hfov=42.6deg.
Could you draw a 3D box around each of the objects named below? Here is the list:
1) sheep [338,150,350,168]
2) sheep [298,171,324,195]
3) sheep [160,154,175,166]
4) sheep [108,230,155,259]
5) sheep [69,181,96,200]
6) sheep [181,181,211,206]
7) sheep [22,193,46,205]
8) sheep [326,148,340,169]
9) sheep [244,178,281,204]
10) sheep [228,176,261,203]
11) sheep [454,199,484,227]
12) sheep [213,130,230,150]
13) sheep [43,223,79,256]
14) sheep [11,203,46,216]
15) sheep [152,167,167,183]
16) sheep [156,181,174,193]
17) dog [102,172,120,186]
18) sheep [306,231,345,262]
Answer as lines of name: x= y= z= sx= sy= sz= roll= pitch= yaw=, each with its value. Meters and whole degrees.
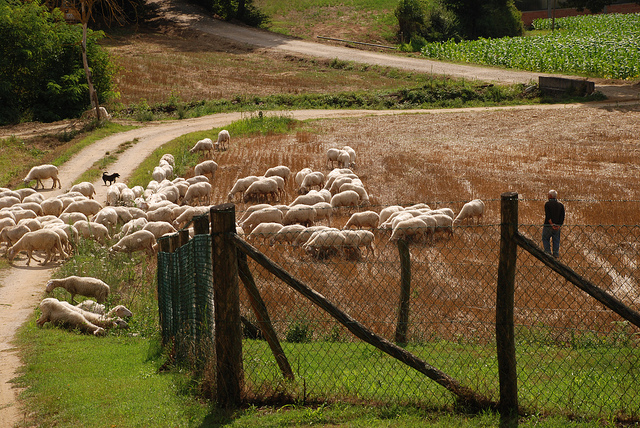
sheep: x=1.630 y=-3.567 z=54.908 sx=0.732 sy=1.043 sz=1.215 roll=-6 pitch=18 yaw=-16
sheep: x=-0.472 y=-1.986 z=51.385 sx=0.862 sy=1.227 sz=2.095 roll=14 pitch=23 yaw=40
sheep: x=-10.331 y=-3.615 z=55.739 sx=0.783 sy=0.534 sz=1.558 roll=-3 pitch=6 yaw=-7
sheep: x=-9.976 y=1.617 z=44.574 sx=2.002 sy=1.319 sz=0.586 roll=-4 pitch=16 yaw=-9
sheep: x=-14.460 y=-1.313 z=50.290 sx=0.719 sy=1.179 sz=1.767 roll=4 pitch=18 yaw=15
sheep: x=-7.485 y=-1.227 z=50.260 sx=1.608 sy=1.412 sz=1.115 roll=-4 pitch=17 yaw=-9
sheep: x=-16.743 y=-0.850 z=48.138 sx=1.363 sy=0.804 sz=0.498 roll=-3 pitch=40 yaw=-27
sheep: x=0.877 y=-3.757 z=55.553 sx=0.737 sy=1.268 sz=1.196 roll=-6 pitch=18 yaw=-16
sheep: x=-3.596 y=-1.378 z=50.715 sx=2.394 sy=1.837 sz=0.911 roll=-9 pitch=25 yaw=-13
sheep: x=-4.502 y=-1.550 z=50.959 sx=2.537 sy=1.492 sz=0.813 roll=-13 pitch=21 yaw=-12
sheep: x=8.493 y=-0.010 z=46.447 sx=2.275 sy=1.399 sz=0.709 roll=-13 pitch=17 yaw=-25
sheep: x=-7.111 y=-5.393 z=59.783 sx=1.051 sy=1.312 sz=1.593 roll=-2 pitch=17 yaw=-5
sheep: x=-13.891 y=1.443 z=44.944 sx=0.528 sy=1.161 sz=2.059 roll=10 pitch=-16 yaw=-39
sheep: x=-16.549 y=-0.152 z=46.909 sx=1.570 sy=0.887 sz=0.944 roll=-8 pitch=19 yaw=-22
sheep: x=-10.351 y=-2.550 z=52.995 sx=0.496 sy=0.714 sz=1.248 roll=2 pitch=32 yaw=-5
sheep: x=-9.497 y=-1.726 z=50.592 sx=0.432 sy=0.649 sz=1.172 roll=23 pitch=50 yaw=13
dog: x=-13.741 y=-2.333 z=54.054 sx=1.045 sy=0.800 sz=1.466 roll=-5 pitch=18 yaw=-13
sheep: x=0.291 y=1.676 z=42.442 sx=2.134 sy=1.603 sz=0.656 roll=-3 pitch=-2 yaw=9
